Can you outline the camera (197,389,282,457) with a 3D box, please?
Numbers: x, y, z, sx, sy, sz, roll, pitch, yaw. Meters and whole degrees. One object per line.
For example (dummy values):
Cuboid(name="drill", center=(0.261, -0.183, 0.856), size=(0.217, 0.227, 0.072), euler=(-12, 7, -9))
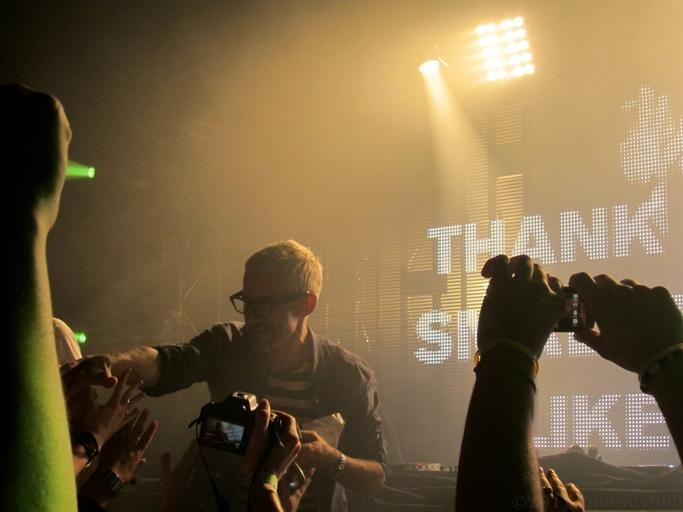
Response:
Cuboid(name="camera", center=(-0.360, 0.611, 2.560), size=(0.301, 0.215, 0.228), euler=(12, -6, 10))
